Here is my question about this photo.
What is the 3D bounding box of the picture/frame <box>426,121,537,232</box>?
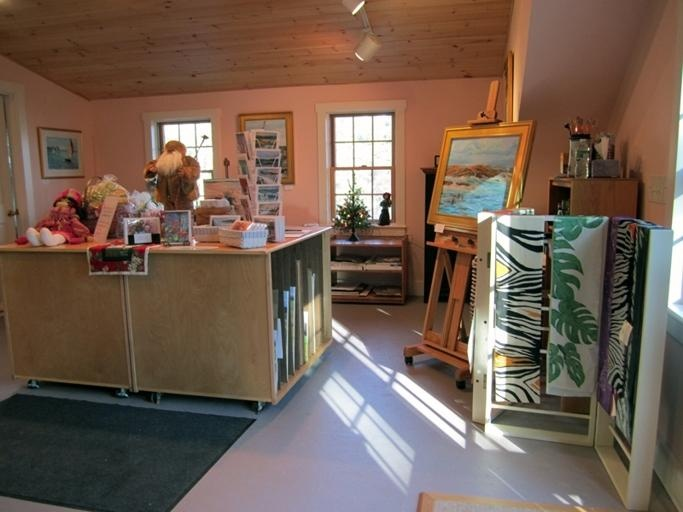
[{"bbox_3d":[1.070,-0.643,4.135,0.345,0.833,0.796,-14,19,-43],"label":"picture/frame"}]

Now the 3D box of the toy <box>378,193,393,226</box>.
[{"bbox_3d":[0.567,-0.617,6.633,0.146,0.411,0.262,2,14,9],"label":"toy"}]

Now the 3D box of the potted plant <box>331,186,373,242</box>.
[{"bbox_3d":[0.140,-0.539,6.622,0.413,0.685,0.398,-1,-3,16],"label":"potted plant"}]

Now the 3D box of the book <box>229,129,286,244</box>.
[{"bbox_3d":[-0.651,-0.644,4.135,0.335,0.708,0.352,-3,14,-9],"label":"book"}]

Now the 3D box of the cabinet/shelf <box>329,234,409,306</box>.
[{"bbox_3d":[0.287,0.132,6.598,1.032,0.818,0.575,0,12,6],"label":"cabinet/shelf"}]

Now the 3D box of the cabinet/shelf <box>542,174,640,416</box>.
[{"bbox_3d":[1.833,0.174,3.917,0.596,1.536,1.380,5,15,21],"label":"cabinet/shelf"}]

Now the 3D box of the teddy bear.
[{"bbox_3d":[-2.257,-0.308,4.186,0.446,0.429,0.561,1,2,10],"label":"teddy bear"}]

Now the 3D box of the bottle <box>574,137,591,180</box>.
[{"bbox_3d":[1.756,-0.723,3.824,0.142,0.263,0.070,6,15,25],"label":"bottle"}]
